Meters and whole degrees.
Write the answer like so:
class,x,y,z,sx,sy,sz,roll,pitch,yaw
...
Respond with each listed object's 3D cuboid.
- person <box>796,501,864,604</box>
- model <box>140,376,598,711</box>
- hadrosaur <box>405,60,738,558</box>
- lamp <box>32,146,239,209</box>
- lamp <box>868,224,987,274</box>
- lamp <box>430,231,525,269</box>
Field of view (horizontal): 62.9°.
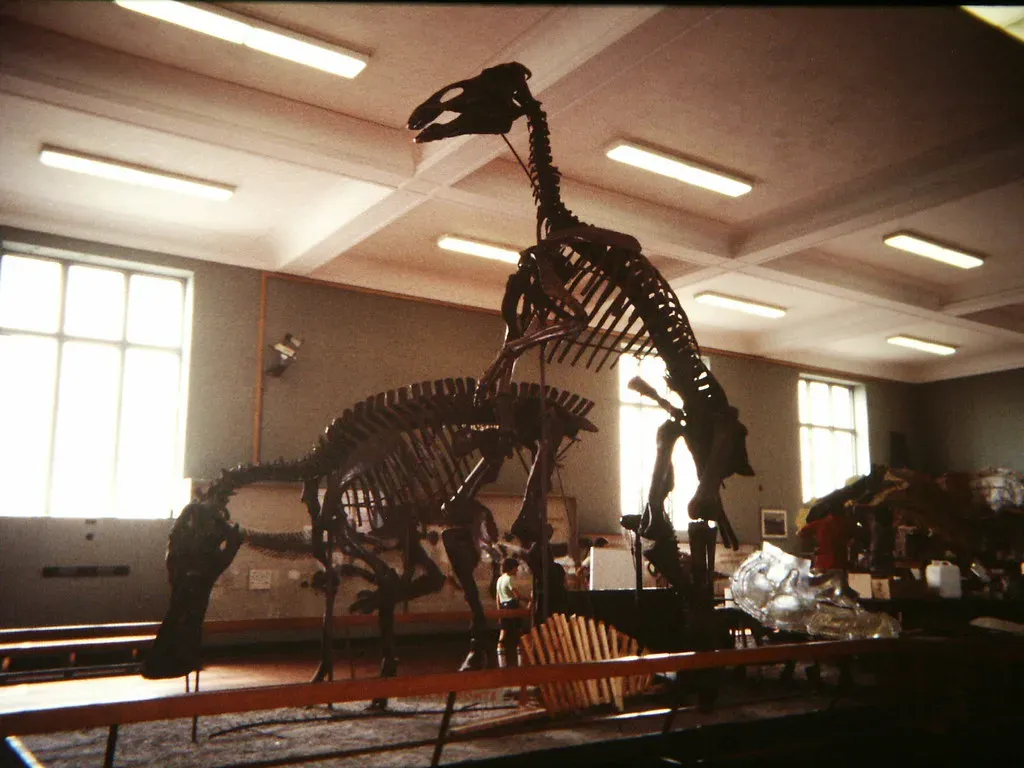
class,x,y,z,sx,sy,sz,roll,pitch,yaw
person,3.512,1.861,9.195,0.600,1.163,0.425,3,8,19
model,-1.011,1.399,7.656,5.325,2.581,1.233,-9,-10,16
hadrosaur,0.659,-0.711,6.889,2.171,4.061,2.129,-3,-11,18
lamp,-4.106,-2.379,9.244,2.017,0.104,0.291,7,15,-30
lamp,5.750,-1.787,11.404,2.158,0.189,0.660,6,-11,-34
lamp,-0.489,-1.818,11.132,1.721,0.098,0.259,8,-35,-25
